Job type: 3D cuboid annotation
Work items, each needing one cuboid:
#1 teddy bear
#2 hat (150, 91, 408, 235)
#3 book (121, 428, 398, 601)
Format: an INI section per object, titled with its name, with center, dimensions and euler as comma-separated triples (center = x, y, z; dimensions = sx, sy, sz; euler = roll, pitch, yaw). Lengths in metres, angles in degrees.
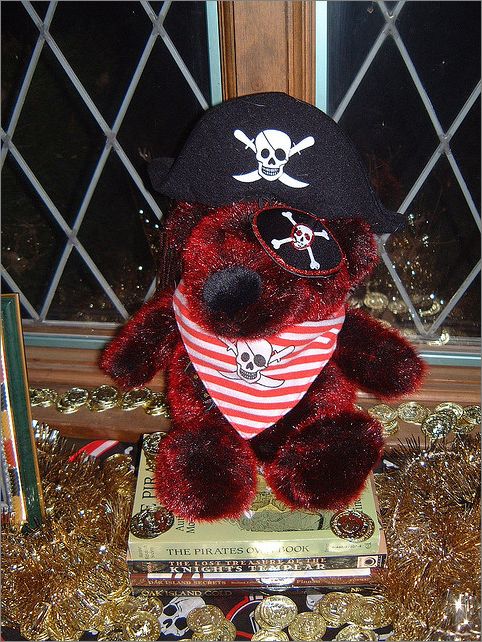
[teddy bear]
center = 0.035, -0.011, 0.774
dimensions = 0.479, 0.457, 0.287
euler = -6, 22, -7
[hat]
center = 0.061, -0.184, 0.755
dimensions = 0.310, 0.185, 0.124
euler = 11, 57, 10
[book]
center = 0.015, 0.243, 0.753
dimensions = 0.201, 0.044, 0.194
euler = 0, 28, 0
